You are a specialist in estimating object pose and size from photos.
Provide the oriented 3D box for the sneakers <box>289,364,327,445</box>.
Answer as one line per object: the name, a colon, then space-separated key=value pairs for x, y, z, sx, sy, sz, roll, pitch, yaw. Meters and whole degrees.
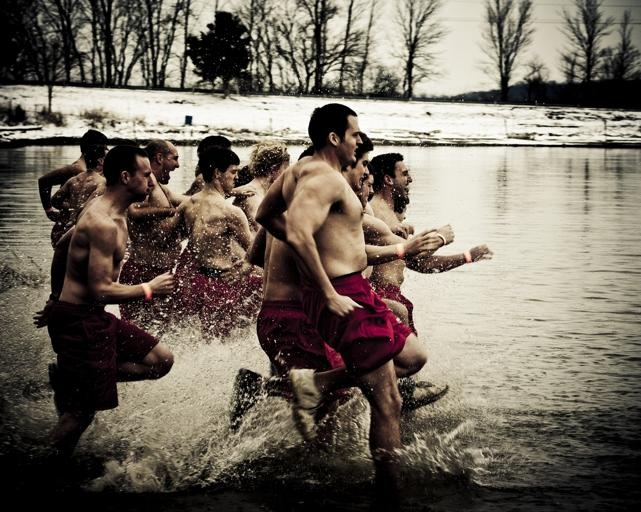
sneakers: x=-0.125 y=0.952 z=5.234 sx=0.229 sy=0.467 sz=0.163 roll=-15 pitch=16 yaw=-18
